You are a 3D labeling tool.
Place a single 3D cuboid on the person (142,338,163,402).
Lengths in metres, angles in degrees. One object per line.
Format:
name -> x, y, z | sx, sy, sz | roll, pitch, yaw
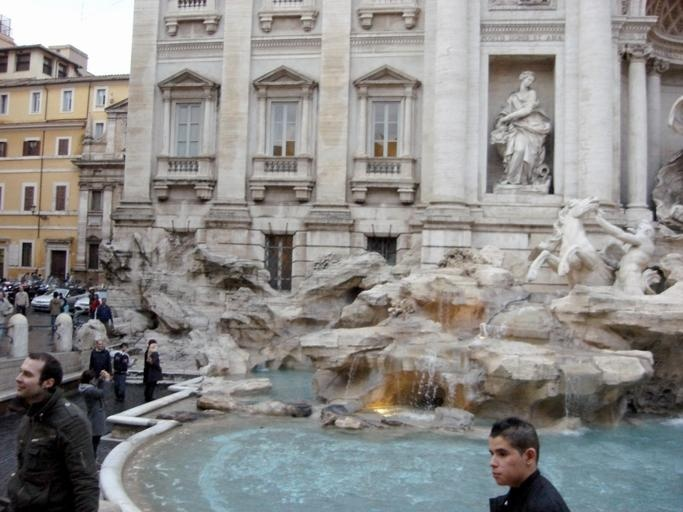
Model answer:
person -> -4.548, 2.721, 17.618 | 0.415, 1.422, 0.966 | 0, 6, -13
